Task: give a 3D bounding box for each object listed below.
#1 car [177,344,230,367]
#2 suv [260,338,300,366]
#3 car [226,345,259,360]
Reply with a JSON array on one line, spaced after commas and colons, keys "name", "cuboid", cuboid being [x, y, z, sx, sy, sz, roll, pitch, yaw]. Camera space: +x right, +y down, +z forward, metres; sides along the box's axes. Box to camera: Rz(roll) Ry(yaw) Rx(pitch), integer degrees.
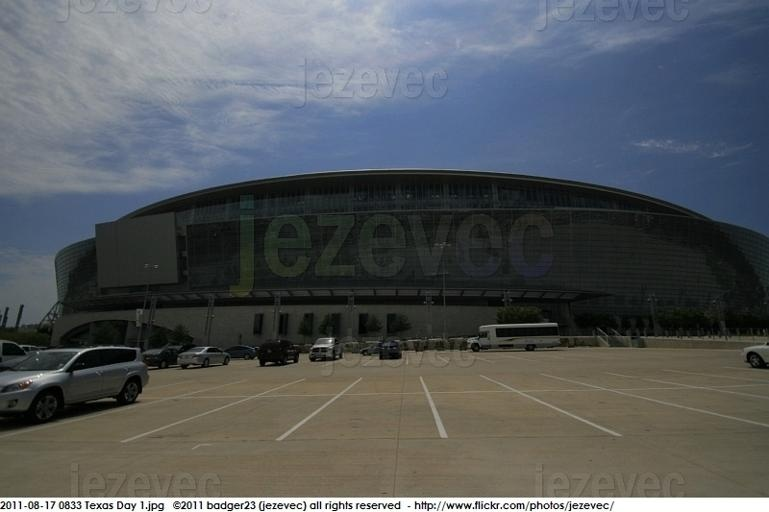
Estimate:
[{"name": "car", "cuboid": [-14.062, 7.746, 37.928, 1.885, 1.580, 3.855, -5, -12, 17]}, {"name": "suv", "cuboid": [-8.134, 7.409, 37.767, 1.613, 1.305, 3.460, -3, -17, 6]}, {"name": "car", "cuboid": [-14.769, 9.807, 50.473, 2.851, 1.446, 1.639, -9, -14, 33]}]
